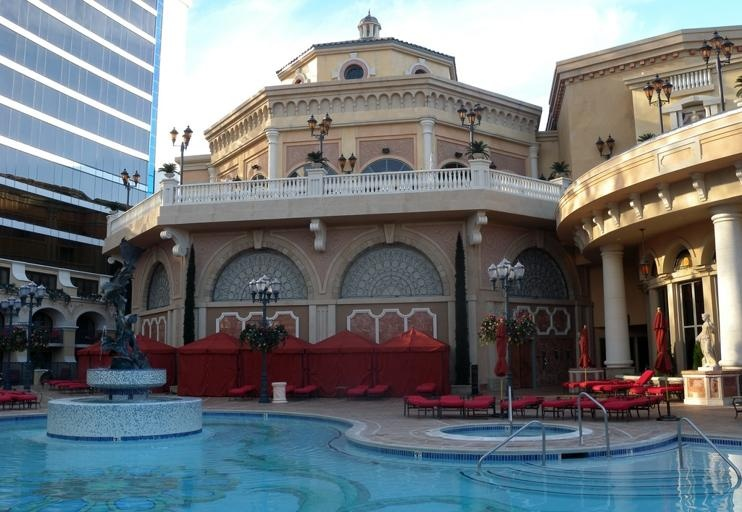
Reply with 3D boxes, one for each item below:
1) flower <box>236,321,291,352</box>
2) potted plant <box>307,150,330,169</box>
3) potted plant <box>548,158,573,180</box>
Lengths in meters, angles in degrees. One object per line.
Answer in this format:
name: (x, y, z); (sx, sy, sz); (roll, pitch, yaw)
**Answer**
flower: (-4.675, 3.505, 33.010); (1.565, 0.948, 1.607); (-1, -4, -2)
potted plant: (-2.732, -4.816, 37.103); (1.229, 0.770, 1.318); (-2, -8, 26)
potted plant: (10.275, -4.723, 40.509); (1.127, 1.182, 1.173); (-5, -16, 28)
